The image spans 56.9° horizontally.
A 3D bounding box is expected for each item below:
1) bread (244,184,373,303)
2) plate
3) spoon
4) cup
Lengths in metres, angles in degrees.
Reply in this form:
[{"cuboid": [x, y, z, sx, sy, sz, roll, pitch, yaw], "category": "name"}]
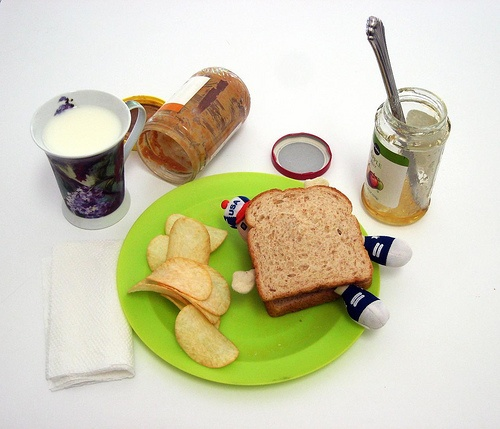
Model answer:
[{"cuboid": [0.166, 0.061, 1.381, 0.351, 0.170, 0.331, -9, 50, -2], "category": "bread"}, {"cuboid": [-0.058, 0.214, 1.487, 0.553, 0.068, 0.690, -1, 63, -6], "category": "plate"}, {"cuboid": [0.410, -0.219, 1.275, 0.036, 0.618, 0.069, -1, 25, 36], "category": "spoon"}, {"cuboid": [-0.449, -0.189, 1.547, 0.387, 0.466, 0.340, -29, 63, -28], "category": "cup"}]
